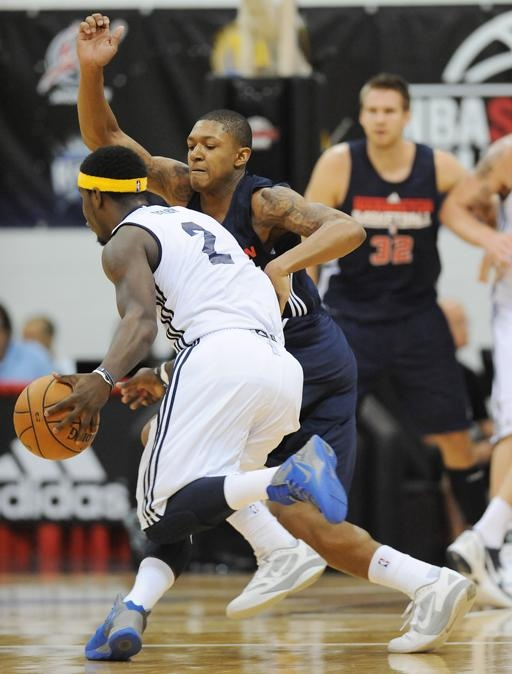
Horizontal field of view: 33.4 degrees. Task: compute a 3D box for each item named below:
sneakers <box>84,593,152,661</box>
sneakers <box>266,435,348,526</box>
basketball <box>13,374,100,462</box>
[{"bbox_3d":[-0.331,0.677,1.969,0.094,0.215,0.120,24,47,-14],"label":"sneakers"},{"bbox_3d":[0.107,0.292,1.805,0.124,0.202,0.093,-41,23,-25],"label":"sneakers"},{"bbox_3d":[-0.461,0.188,1.946,0.209,0.205,0.199,2,-4,-31],"label":"basketball"}]
